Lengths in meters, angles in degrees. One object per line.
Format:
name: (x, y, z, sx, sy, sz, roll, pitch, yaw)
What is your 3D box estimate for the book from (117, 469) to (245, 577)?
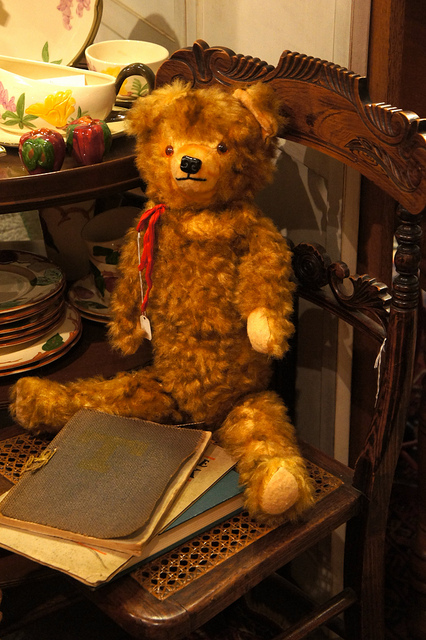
book: (-0.023, 0.188, 0.504, 0.086, 0.012, 0.059, -30, -2, -33)

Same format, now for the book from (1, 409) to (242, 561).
book: (-0.099, 0.142, 0.531, 0.134, 0.021, 0.126, 7, 33, 30)

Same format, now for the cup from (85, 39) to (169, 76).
cup: (-0.133, -0.401, 0.816, 0.108, 0.048, 0.108, 4, 34, -2)

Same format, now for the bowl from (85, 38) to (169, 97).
bowl: (-0.135, -0.381, 0.849, 0.112, 0.067, 0.116, 2, 30, -1)

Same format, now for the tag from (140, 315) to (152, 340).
tag: (-0.083, 0.008, 0.664, 0.003, 0.033, 0.024, -22, 28, -32)
